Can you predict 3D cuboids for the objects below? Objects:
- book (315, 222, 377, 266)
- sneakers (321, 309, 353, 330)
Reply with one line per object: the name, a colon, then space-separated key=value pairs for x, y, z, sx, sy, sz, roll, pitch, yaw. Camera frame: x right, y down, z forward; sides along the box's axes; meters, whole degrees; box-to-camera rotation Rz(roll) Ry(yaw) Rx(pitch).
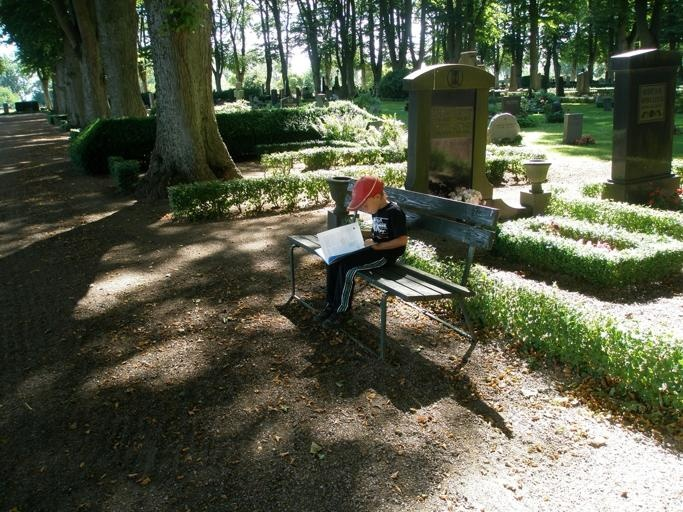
book: x=0.002 y=-0.168 z=5.857 sx=0.557 sy=0.439 sz=0.397 roll=-20 pitch=-12 yaw=3
sneakers: x=-0.054 y=0.741 z=6.204 sx=0.447 sy=0.195 sz=0.166 roll=-1 pitch=45 yaw=-52
